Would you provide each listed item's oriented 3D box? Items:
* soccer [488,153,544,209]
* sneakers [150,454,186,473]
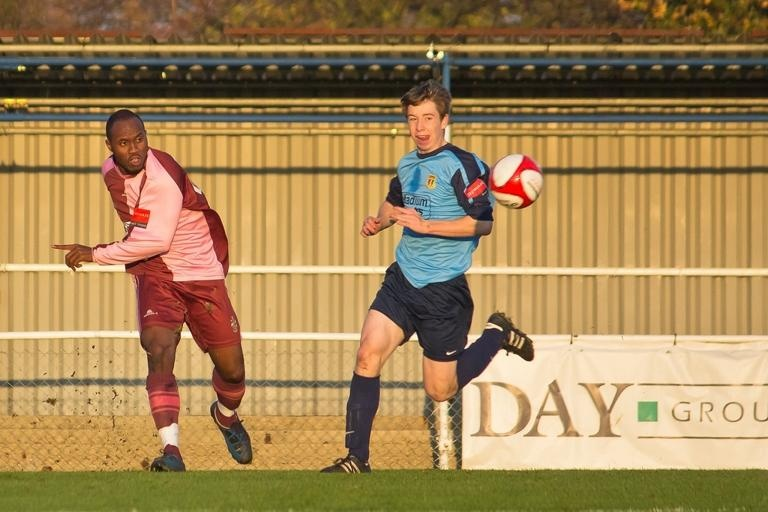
[{"bbox_3d":[2.013,-1.003,30.547,0.920,0.757,0.773,-11,-20,11],"label":"soccer"},{"bbox_3d":[-3.148,3.032,29.930,0.468,0.192,0.242,15,-26,3],"label":"sneakers"}]
